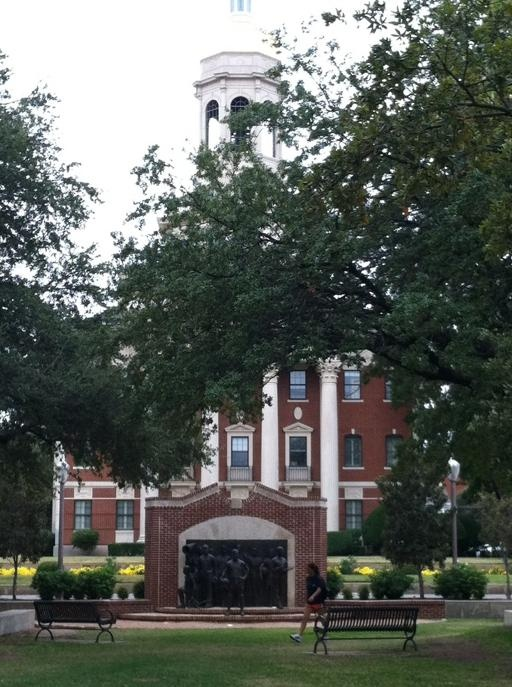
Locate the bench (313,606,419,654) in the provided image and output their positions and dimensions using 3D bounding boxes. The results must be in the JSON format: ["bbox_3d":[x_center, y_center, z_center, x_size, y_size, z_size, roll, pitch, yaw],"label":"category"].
[{"bbox_3d":[2.027,5.123,29.859,2.527,0.885,1.682,8,-14,-38],"label":"bench"}]

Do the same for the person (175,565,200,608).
[{"bbox_3d":[-1.585,5.724,38.832,0.499,0.981,0.356,-2,-11,7],"label":"person"}]

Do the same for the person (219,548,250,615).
[{"bbox_3d":[-0.493,5.481,38.000,0.602,1.513,0.760,-2,-11,6],"label":"person"}]
